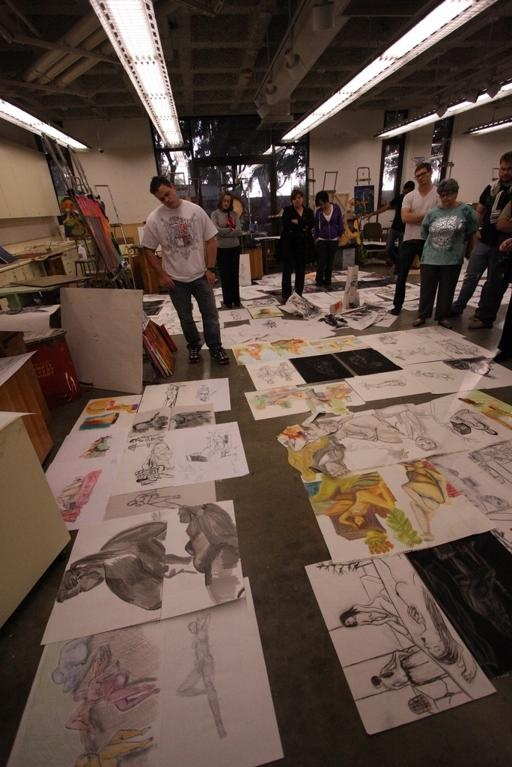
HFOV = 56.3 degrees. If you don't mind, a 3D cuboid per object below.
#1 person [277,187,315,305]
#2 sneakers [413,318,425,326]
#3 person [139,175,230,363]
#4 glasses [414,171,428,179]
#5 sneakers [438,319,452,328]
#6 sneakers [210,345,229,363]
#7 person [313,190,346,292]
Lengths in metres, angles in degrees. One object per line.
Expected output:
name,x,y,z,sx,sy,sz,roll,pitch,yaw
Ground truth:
person,0.448,-1.538,5.370,0.374,1.190,0.396,-1,22,3
sneakers,1.441,-0.554,4.262,0.046,0.053,0.138,3,22,40
person,-0.501,-0.792,3.446,0.563,1.296,0.356,-11,23,-19
glasses,1.353,-1.730,3.959,0.054,0.031,0.069,5,41,47
sneakers,1.639,-0.536,4.167,0.051,0.060,0.151,-8,20,-3
sneakers,-0.280,-0.230,3.638,0.070,0.082,0.203,-15,27,-13
person,0.905,-1.816,6.043,0.363,1.155,0.697,1,22,9
